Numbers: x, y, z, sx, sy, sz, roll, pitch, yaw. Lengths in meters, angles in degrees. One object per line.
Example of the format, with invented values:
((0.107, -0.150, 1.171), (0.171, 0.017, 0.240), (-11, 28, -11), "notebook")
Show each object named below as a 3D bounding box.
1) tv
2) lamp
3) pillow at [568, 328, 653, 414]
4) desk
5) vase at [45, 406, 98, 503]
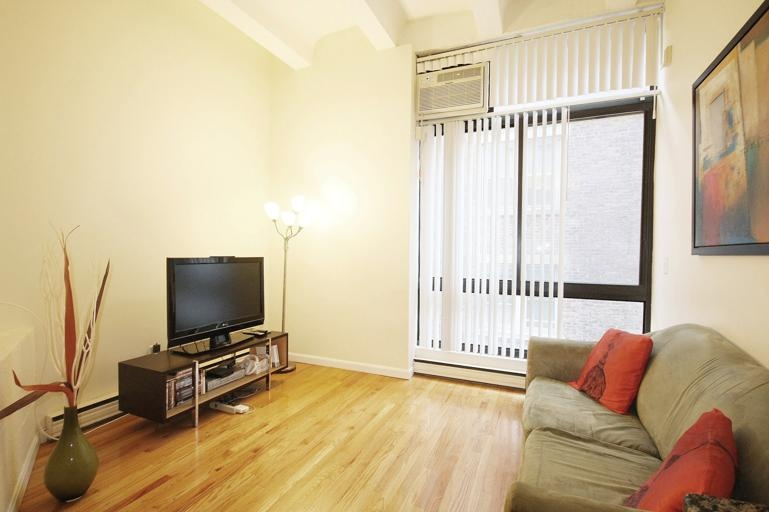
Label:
((-1.560, 0.450, 4.970), (0.167, 0.902, 1.060), (2, 5, 37), "tv")
((-1.020, 0.304, 5.783), (0.482, 1.887, 0.721), (-1, 3, -11), "lamp")
((1.768, 0.879, 4.106), (0.332, 0.555, 0.591), (0, 8, -10), "pillow")
((-1.596, 1.120, 4.757), (0.473, 0.647, 1.386), (1, 2, 40), "desk")
((-2.193, 1.389, 3.677), (0.309, 0.608, 0.111), (-2, 3, -33), "vase")
